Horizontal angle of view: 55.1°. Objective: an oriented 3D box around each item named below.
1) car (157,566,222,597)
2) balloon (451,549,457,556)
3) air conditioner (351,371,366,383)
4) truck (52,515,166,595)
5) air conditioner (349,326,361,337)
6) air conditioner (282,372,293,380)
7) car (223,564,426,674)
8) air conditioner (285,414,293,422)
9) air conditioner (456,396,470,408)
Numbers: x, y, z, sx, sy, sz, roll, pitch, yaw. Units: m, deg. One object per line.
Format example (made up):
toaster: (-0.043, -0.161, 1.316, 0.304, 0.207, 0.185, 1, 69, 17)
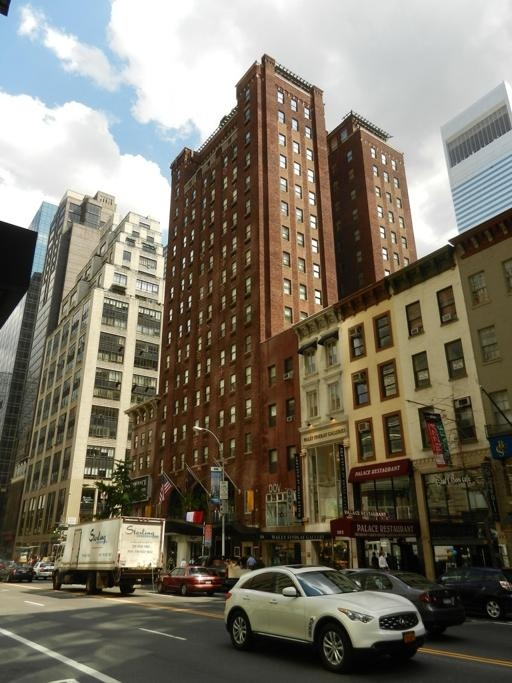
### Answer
car: (-3.523, 12.421, 25.377, 3.359, 1.337, 1.258, -21, -30, 40)
balloon: (9.748, 10.421, 24.159, 0.121, 0.272, 0.285, 11, -25, -26)
air conditioner: (6.734, 2.340, 32.481, 0.706, 0.564, 0.732, 9, -18, -33)
truck: (-8.114, 11.568, 26.089, 2.389, 3.301, 7.088, 25, -36, -36)
air conditioner: (6.744, -0.650, 33.543, 0.653, 0.521, 0.679, 7, -14, -31)
air conditioner: (2.504, 2.798, 39.086, 0.530, 0.668, 1.005, 11, -23, -20)
car: (0.977, 4.653, 8.410, 1.667, 1.385, 3.957, 12, -26, -29)
air conditioner: (2.537, 6.056, 38.284, 0.213, 0.534, 0.861, 9, -24, -23)
air conditioner: (10.739, 3.202, 25.588, 0.221, 0.408, 0.880, 10, -25, -24)
